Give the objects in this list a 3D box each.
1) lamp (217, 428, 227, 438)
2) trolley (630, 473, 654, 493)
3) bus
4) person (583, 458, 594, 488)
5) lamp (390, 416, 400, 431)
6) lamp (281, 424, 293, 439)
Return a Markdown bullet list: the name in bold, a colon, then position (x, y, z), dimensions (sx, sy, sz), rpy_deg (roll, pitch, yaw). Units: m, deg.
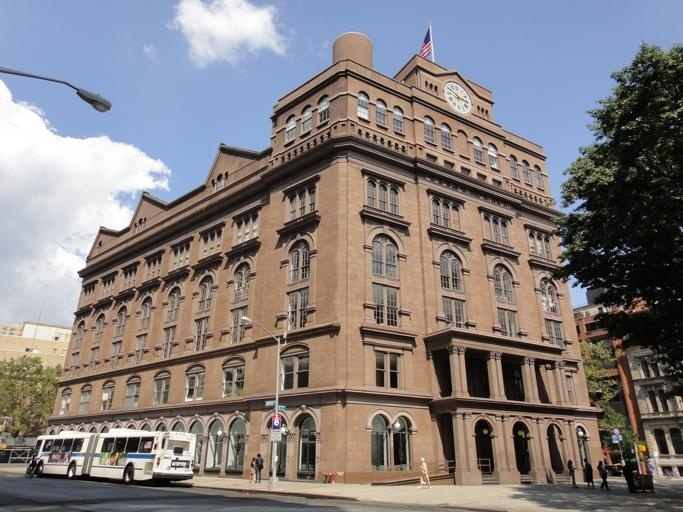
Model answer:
- **lamp**: position (-11.078, 16.510, 41.703), dimensions (0.583, 1.129, 0.500), rpy_deg (19, -72, -21)
- **trolley**: position (19.572, 14.787, 29.206), dimensions (1.483, 1.130, 0.833), rpy_deg (7, -30, -13)
- **bus**: position (-20.006, 17.049, 37.908), dimensions (21.568, 4.337, 3.859), rpy_deg (-21, -36, 33)
- **person**: position (18.471, 16.371, 33.464), dimensions (0.461, 1.586, 1.782), rpy_deg (-12, -31, 21)
- **lamp**: position (4.377, 13.590, 36.033), dimensions (0.322, 1.068, 1.422), rpy_deg (-16, -33, 27)
- **lamp**: position (-4.460, 14.321, 36.351), dimensions (0.679, 1.116, 1.138), rpy_deg (-30, -37, 35)
